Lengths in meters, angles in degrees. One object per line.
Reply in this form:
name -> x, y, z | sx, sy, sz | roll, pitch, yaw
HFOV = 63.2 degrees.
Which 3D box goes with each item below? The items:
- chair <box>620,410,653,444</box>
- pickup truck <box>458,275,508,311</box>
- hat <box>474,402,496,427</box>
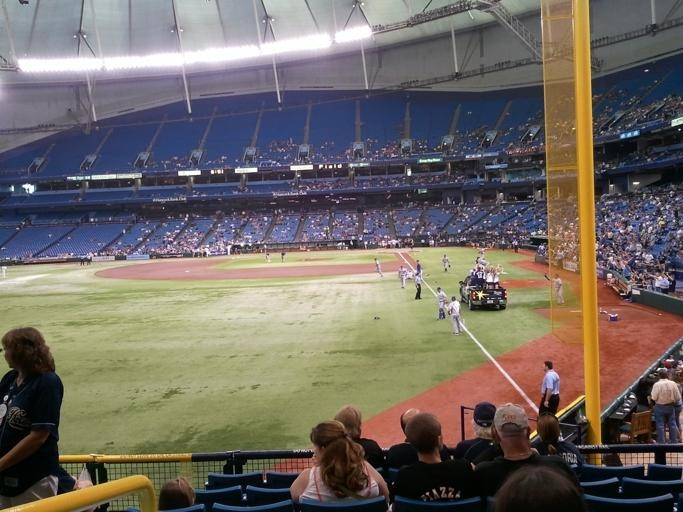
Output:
chair -> 7.013, 4.191, 13.461 | 0.758, 0.818, 0.812 | -4, -4, 45
pickup truck -> 7.039, 1.719, 28.143 | 1.760, 1.145, 3.281 | -6, 7, 2
hat -> 2.364, 2.573, 9.222 | 0.313, 0.217, 0.428 | 1, 17, 12
